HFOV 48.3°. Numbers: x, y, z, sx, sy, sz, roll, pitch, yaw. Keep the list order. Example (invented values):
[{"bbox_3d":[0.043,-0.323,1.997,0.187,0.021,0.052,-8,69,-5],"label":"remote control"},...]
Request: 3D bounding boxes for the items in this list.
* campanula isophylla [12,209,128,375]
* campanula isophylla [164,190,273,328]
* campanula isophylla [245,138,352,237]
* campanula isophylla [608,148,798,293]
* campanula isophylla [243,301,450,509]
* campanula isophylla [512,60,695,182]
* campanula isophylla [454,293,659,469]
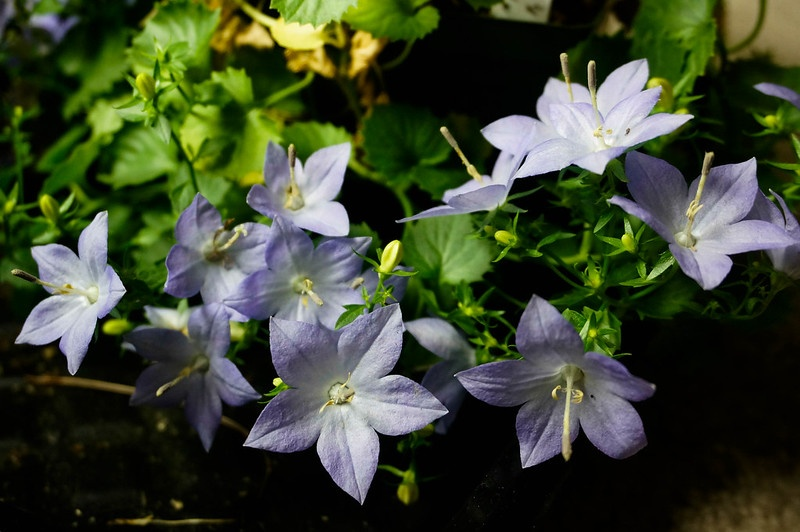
[{"bbox_3d":[-0.600,0.025,1.638,0.268,0.144,0.268,5,64,34],"label":"campanula isophylla"},{"bbox_3d":[-0.343,-0.035,1.670,0.205,0.155,0.139,-11,44,3],"label":"campanula isophylla"},{"bbox_3d":[-0.200,-0.145,1.699,0.177,0.078,0.189,1,61,-17],"label":"campanula isophylla"},{"bbox_3d":[0.525,-0.088,1.558,0.310,0.146,0.213,-6,45,8],"label":"campanula isophylla"},{"bbox_3d":[-0.105,0.246,1.600,0.353,0.239,0.238,-11,44,3],"label":"campanula isophylla"},{"bbox_3d":[0.382,-0.242,1.639,0.249,0.148,0.269,17,70,38],"label":"campanula isophylla"},{"bbox_3d":[0.268,0.223,1.565,0.311,0.273,0.175,18,51,28],"label":"campanula isophylla"}]
